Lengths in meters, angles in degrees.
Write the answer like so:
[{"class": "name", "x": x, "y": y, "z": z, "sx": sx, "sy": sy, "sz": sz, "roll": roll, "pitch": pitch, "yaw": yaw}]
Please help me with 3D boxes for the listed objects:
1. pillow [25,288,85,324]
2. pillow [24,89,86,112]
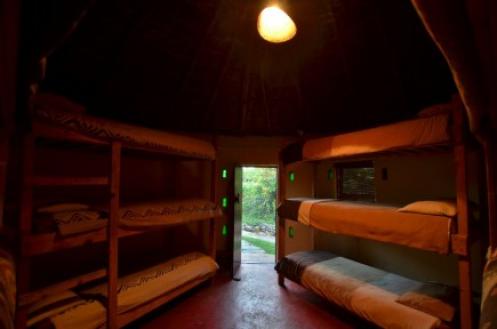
[{"class": "pillow", "x": -2.956, "y": 2.162, "z": 4.913, "sx": 0.359, "sy": 0.118, "sz": 0.566, "roll": 26, "pitch": 28, "yaw": 38}, {"class": "pillow", "x": -2.844, "y": -0.917, "z": 4.798, "sx": 0.110, "sy": 0.275, "sz": 0.489, "roll": -47, "pitch": -35, "yaw": 13}]
